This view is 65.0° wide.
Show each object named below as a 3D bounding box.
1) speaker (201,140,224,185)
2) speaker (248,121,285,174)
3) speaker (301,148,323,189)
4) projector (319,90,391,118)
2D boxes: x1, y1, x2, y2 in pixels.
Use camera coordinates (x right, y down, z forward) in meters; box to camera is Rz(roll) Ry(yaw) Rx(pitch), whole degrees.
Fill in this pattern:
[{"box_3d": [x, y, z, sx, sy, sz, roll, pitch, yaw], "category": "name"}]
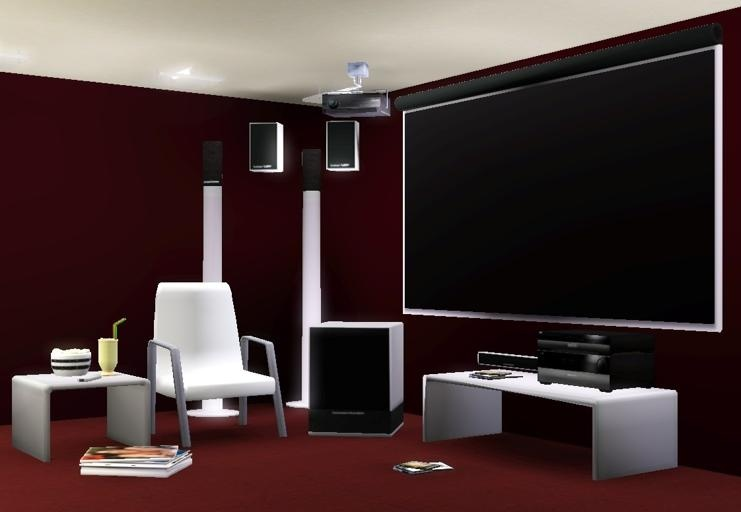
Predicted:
[{"box_3d": [-1.450, -0.847, 5.333, 0.181, 0.425, 0.256, 0, -1, -15], "category": "speaker"}, {"box_3d": [-0.956, -0.996, 5.271, 0.275, 0.417, 0.109, 0, -1, -9], "category": "speaker"}, {"box_3d": [-0.560, -0.820, 5.534, 0.178, 0.422, 0.263, 0, -1, -5], "category": "speaker"}, {"box_3d": [-0.123, -1.206, 4.595, 0.514, 0.174, 0.163, 0, -1, 2], "category": "projector"}]
